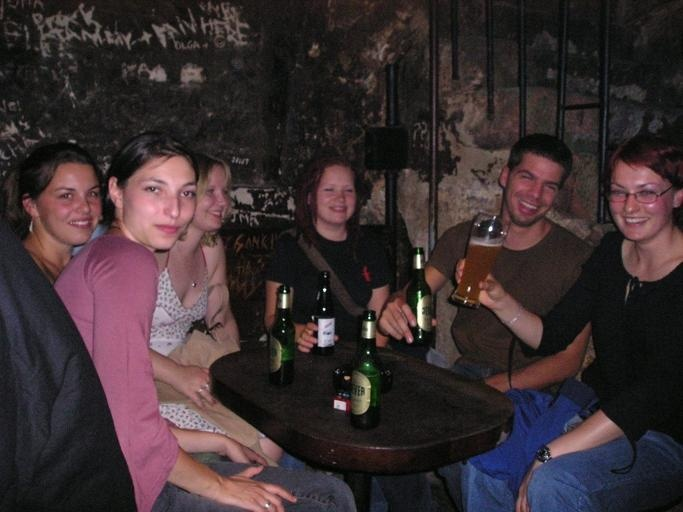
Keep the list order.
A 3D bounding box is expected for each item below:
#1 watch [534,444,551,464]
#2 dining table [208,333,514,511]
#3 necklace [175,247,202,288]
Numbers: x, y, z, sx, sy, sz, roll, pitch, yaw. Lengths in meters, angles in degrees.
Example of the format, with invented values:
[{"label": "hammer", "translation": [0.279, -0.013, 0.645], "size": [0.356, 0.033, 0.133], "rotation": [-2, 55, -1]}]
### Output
[{"label": "watch", "translation": [0.887, 0.870, 2.711], "size": [0.072, 0.066, 0.048], "rotation": [-7, 16, -24]}, {"label": "dining table", "translation": [0.178, 0.662, 2.552], "size": [0.732, 0.395, 1.081], "rotation": [-5, 13, -35]}, {"label": "necklace", "translation": [-0.858, 0.072, 3.513], "size": [0.047, 0.142, 0.196], "rotation": [-16, 49, 34]}]
